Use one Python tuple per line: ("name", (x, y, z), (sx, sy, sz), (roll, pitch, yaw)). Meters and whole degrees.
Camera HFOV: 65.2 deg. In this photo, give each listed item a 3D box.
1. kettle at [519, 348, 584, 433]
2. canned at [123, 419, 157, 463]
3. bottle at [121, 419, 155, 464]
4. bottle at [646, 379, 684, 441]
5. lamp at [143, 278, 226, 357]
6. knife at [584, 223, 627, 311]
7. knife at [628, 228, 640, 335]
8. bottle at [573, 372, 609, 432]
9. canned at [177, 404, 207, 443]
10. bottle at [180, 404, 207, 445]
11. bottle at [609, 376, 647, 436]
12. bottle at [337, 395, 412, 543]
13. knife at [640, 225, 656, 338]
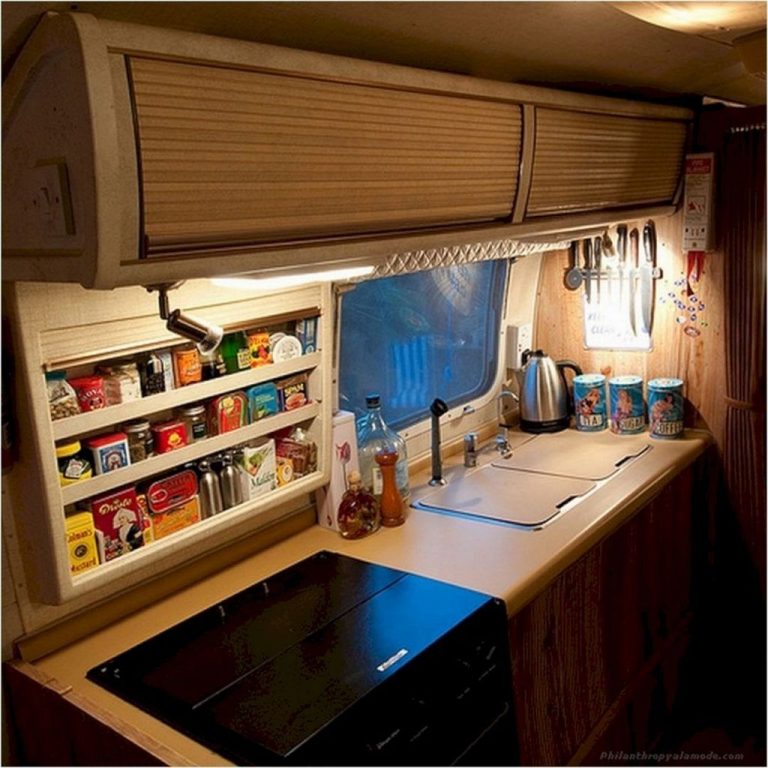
("kettle", (0.698, 0.021, 2.549), (0.234, 0.350, 0.206), (-3, 8, 1))
("canned", (-0.506, 0.118, 1.247), (0.056, 0.107, 0.063), (3, 16, 17))
("bottle", (-0.506, 0.114, 1.247), (0.055, 0.106, 0.063), (4, 15, 18))
("bottle", (1.117, 0.090, 2.383), (0.130, 0.227, 0.129), (-5, 6, 0))
("lamp", (-0.355, -0.122, 1.078), (0.134, 0.148, 0.058), (-17, 19, -41))
("knife", (0.901, -0.487, 2.456), (0.166, 0.313, 0.096), (0, 8, 23))
("knife", (1.004, -0.410, 2.419), (0.036, 0.423, 0.066), (0, 8, 23))
("bottle", (0.878, 0.072, 2.555), (0.136, 0.235, 0.166), (0, 9, 22))
("canned", (-0.426, 0.086, 1.369), (0.057, 0.078, 0.065), (0, 13, 11))
("bottle", (-0.427, 0.089, 1.366), (0.056, 0.077, 0.064), (0, 13, 14))
("bottle", (1.005, 0.085, 2.481), (0.116, 0.218, 0.128), (-2, 10, 24))
("bottle", (-0.034, 0.220, 1.855), (0.196, 0.369, 0.401), (-3, 9, 4))
("knife", (1.053, -0.400, 2.384), (0.048, 0.420, 0.030), (7, 9, 36))
